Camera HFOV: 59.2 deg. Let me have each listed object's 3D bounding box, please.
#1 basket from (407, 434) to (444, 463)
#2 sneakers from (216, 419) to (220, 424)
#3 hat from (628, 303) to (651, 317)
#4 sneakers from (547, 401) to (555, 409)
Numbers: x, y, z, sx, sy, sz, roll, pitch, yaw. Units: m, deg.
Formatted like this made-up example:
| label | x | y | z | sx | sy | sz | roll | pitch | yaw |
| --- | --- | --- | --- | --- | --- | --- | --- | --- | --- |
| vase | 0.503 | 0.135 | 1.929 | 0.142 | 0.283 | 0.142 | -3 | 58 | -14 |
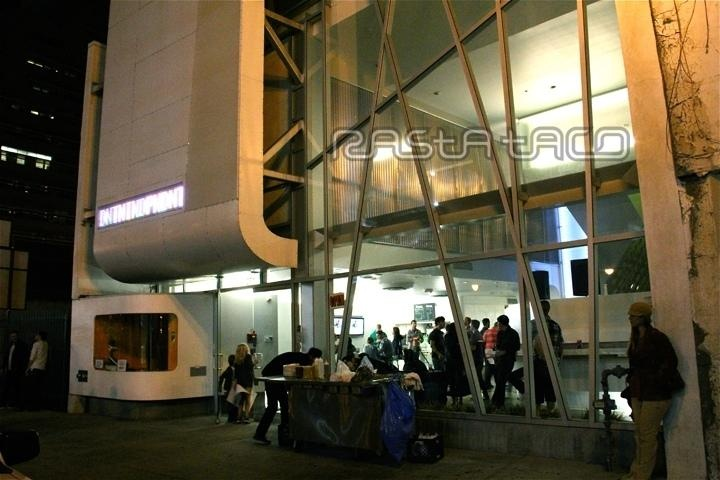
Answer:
| label | x | y | z | sx | sy | sz | roll | pitch | yaw |
| --- | --- | --- | --- | --- | --- | --- | --- | --- | --- |
| basket | 1.319 | 4.117 | 12.529 | 0.534 | 0.386 | 0.543 | -6 | -9 | 23 |
| sneakers | -3.660 | 4.697 | 16.297 | 0.076 | 0.094 | 0.149 | 4 | -12 | -1 |
| hat | 4.961 | 1.246 | 11.208 | 0.292 | 0.234 | 0.235 | 0 | -8 | 25 |
| sneakers | 3.854 | 3.340 | 12.710 | 0.122 | 0.223 | 0.123 | 2 | -18 | 18 |
